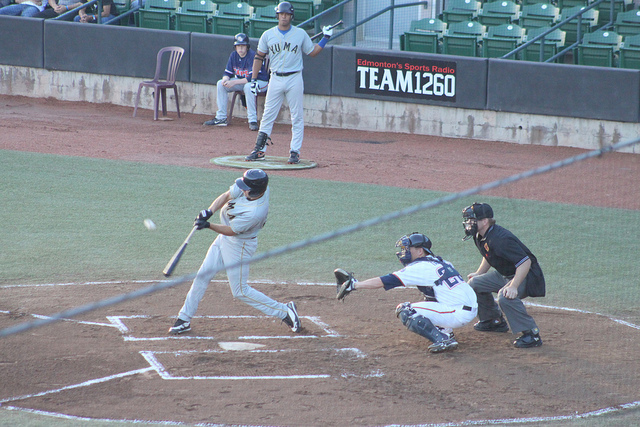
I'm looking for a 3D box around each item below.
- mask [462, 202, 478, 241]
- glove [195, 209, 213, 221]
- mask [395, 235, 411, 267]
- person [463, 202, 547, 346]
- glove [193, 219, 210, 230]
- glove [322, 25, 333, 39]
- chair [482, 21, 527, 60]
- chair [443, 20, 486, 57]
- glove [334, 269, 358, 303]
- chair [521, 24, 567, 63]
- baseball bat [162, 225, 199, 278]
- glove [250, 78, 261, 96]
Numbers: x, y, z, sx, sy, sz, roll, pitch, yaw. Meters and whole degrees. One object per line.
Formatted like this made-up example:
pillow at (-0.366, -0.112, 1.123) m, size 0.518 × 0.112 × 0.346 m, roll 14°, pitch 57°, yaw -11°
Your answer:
mask at (1.877, 0.102, 13.319) m, size 0.194 × 0.455 × 0.291 m, roll 4°, pitch 4°, yaw 5°
glove at (-1.444, 0.019, 13.157) m, size 0.164 × 0.137 × 0.184 m, roll 5°, pitch 4°, yaw 35°
mask at (1.042, 0.458, 13.112) m, size 0.327 × 0.403 × 0.333 m, roll 1°, pitch -3°, yaw 6°
person at (2.311, 0.759, 13.405) m, size 1.044 × 1.733 × 0.510 m, roll 4°, pitch 4°, yaw 10°
glove at (-1.462, 0.137, 13.152) m, size 0.176 × 0.126 × 0.238 m, roll 2°, pitch 3°, yaw -8°
glove at (0.122, -3.208, 18.960) m, size 0.139 × 0.269 × 0.435 m, roll 3°, pitch 3°, yaw -2°
chair at (3.641, -3.394, 21.723) m, size 0.646 × 0.699 × 0.613 m, roll 5°, pitch 15°, yaw 15°
chair at (2.944, -3.566, 21.796) m, size 0.815 × 0.779 × 0.909 m, roll 3°, pitch 4°, yaw 8°
glove at (0.301, 0.860, 13.109) m, size 0.230 × 0.150 × 0.477 m, roll -1°, pitch 10°, yaw 2°
chair at (4.486, -3.470, 21.550) m, size 0.933 × 1.099 × 1.038 m, roll 5°, pitch 10°, yaw 16°
baseball bat at (-1.928, 0.553, 14.623) m, size 0.166 × 0.805 × 0.116 m, roll 27°, pitch -23°, yaw 22°
glove at (-1.235, -2.355, 19.777) m, size 0.122 × 0.235 × 0.237 m, roll -12°, pitch 35°, yaw -1°
